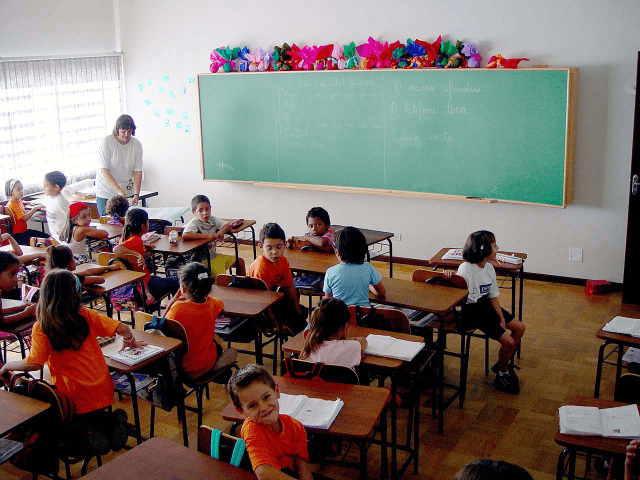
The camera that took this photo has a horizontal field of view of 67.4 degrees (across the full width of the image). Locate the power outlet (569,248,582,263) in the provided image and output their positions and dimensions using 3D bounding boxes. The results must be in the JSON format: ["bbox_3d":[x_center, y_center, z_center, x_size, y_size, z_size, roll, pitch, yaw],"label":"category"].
[{"bbox_3d":[2.794,0.159,5.245,0.146,0.143,0.035,8,4,26],"label":"power outlet"}]

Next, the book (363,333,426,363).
[{"bbox_3d":[0.395,0.581,2.626,0.318,0.052,0.240,0,11,24],"label":"book"}]

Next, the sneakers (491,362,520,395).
[{"bbox_3d":[1.380,1.030,3.600,0.117,0.119,0.263,-6,5,-2],"label":"sneakers"}]

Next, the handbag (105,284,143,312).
[{"bbox_3d":[-1.656,0.479,4.098,0.297,0.294,0.101,7,5,16],"label":"handbag"}]

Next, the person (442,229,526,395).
[{"bbox_3d":[1.250,0.520,3.555,0.516,1.198,0.316,-4,9,2],"label":"person"}]

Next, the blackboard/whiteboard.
[{"bbox_3d":[0.613,-1.297,5.717,4.239,1.864,0.223,0,10,23],"label":"blackboard/whiteboard"}]

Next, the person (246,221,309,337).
[{"bbox_3d":[-0.320,0.302,3.686,0.425,0.875,0.304,-5,10,-8],"label":"person"}]

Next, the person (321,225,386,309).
[{"bbox_3d":[0.246,0.289,3.383,0.416,0.731,0.414,-1,9,8],"label":"person"}]
